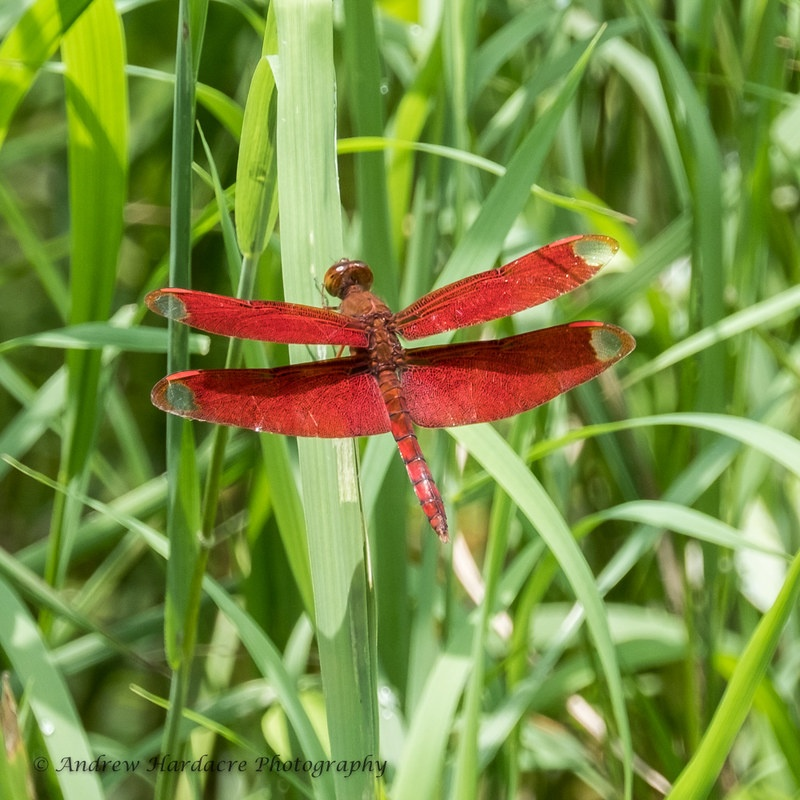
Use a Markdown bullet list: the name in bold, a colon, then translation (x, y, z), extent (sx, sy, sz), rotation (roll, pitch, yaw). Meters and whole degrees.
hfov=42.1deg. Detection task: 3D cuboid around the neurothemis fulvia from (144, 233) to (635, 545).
- **neurothemis fulvia**: translation (-0.024, -0.040, 1.213), extent (0.415, 0.414, 0.103), rotation (-8, -18, -10)
